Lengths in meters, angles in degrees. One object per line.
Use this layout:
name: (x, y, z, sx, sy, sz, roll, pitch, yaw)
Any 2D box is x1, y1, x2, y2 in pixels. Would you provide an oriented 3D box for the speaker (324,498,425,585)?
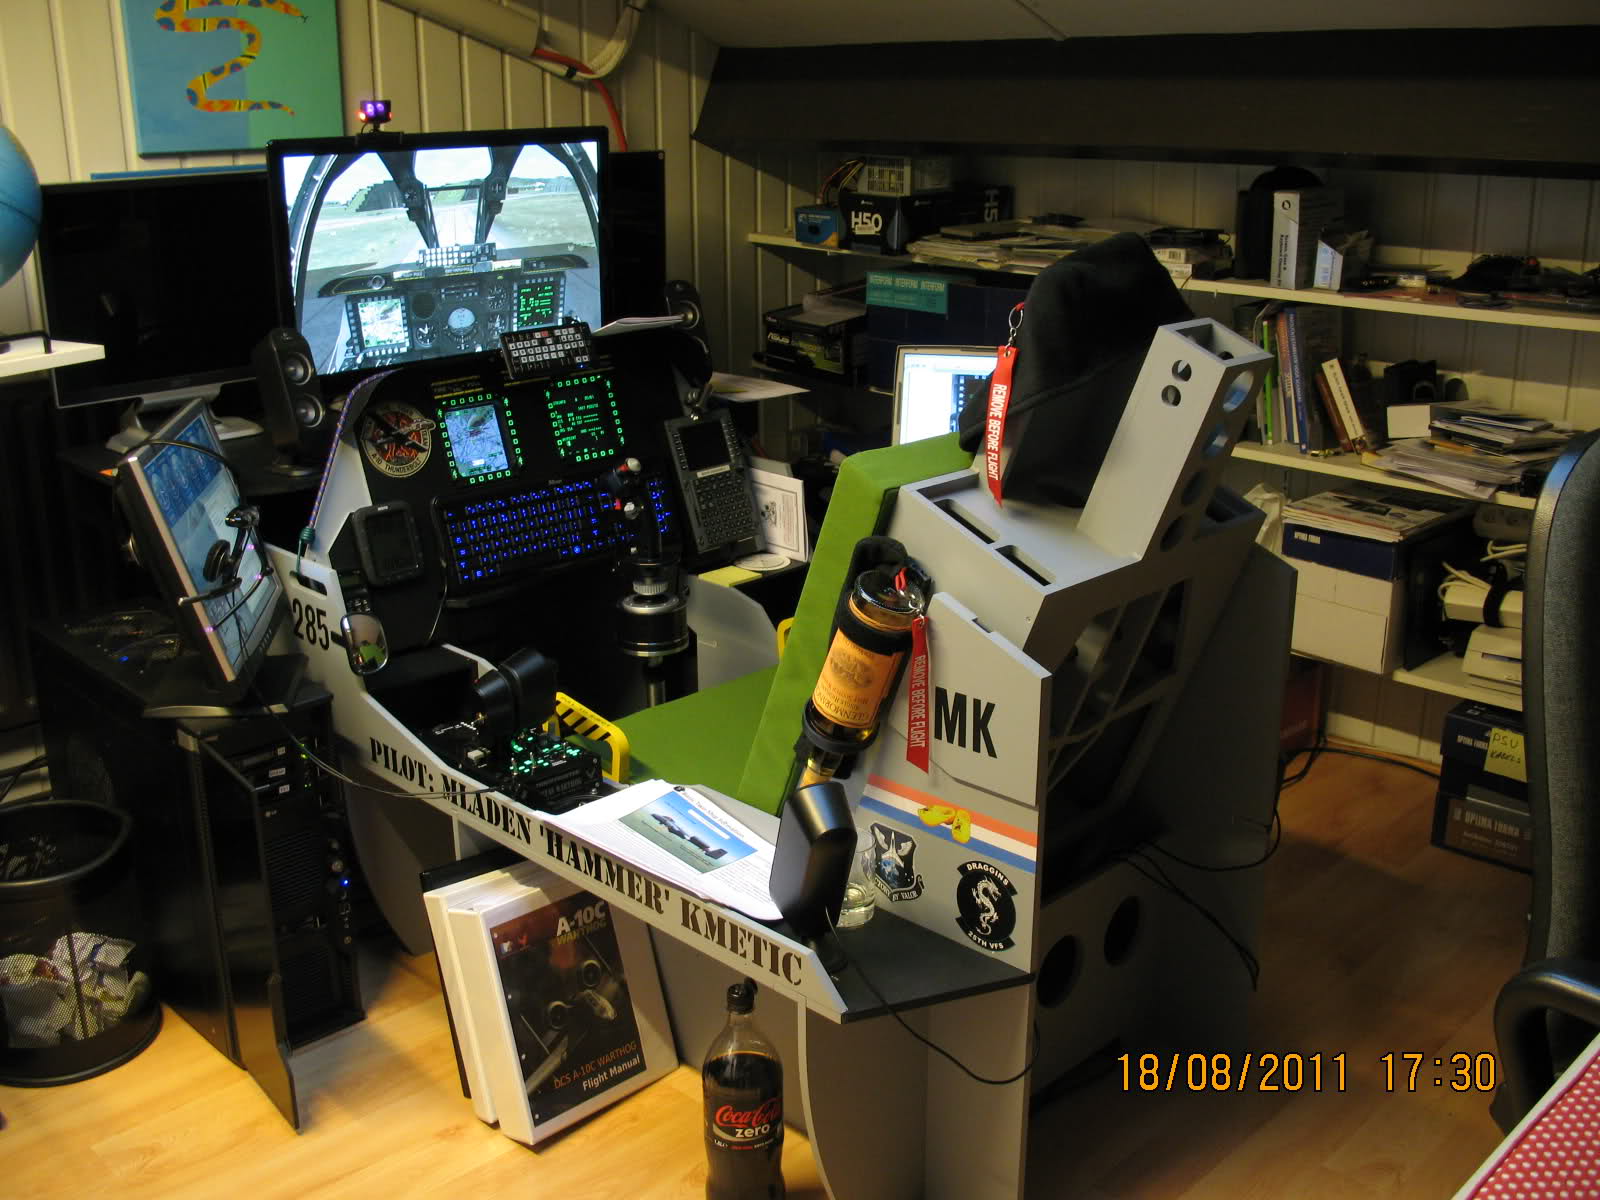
speaker: (-0.994, -0.126, 2.861, 0.212, 0.189, 0.073, -12, 21, -24)

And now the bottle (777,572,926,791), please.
bottle: (0.092, 0.142, 2.075, 0.245, 0.382, 0.113, -4, 19, -1)

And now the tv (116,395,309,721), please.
tv: (-1.240, -0.071, 2.586, 0.208, 0.537, 0.603, -16, -14, -5)

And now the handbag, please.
handbag: (0.392, -0.404, 2.110, 0.363, 0.478, 0.144, 2, 29, -44)

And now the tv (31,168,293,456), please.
tv: (-1.592, -0.729, 3.039, 0.217, 0.681, 0.694, 17, 24, 40)

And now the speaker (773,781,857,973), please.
speaker: (0.017, 0.451, 2.025, 0.135, 0.294, 0.169, -6, 20, -8)
